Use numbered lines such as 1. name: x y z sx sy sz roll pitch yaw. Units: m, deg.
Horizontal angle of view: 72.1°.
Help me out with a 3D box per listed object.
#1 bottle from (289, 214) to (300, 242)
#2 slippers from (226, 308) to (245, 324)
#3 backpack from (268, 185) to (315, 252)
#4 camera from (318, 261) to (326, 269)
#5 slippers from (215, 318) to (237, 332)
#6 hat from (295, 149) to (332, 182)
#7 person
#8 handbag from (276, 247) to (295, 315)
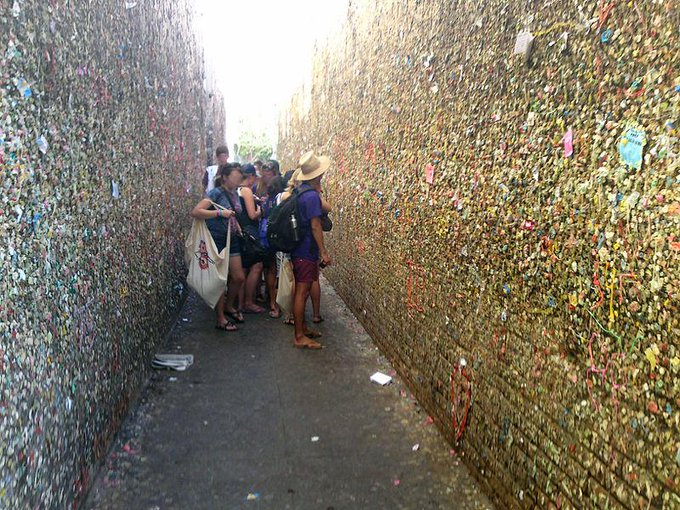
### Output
1. bottle: -0.418 -0.250 4.402 0.089 0.255 0.038 1 12 -5
2. slippers: -1.185 0.686 5.312 0.206 0.076 0.113 41 17 4
3. backpack: -0.516 -0.356 4.628 0.354 0.727 0.474 -2 6 -22
4. camera: -0.188 0.099 4.933 0.052 0.054 0.099 31 26 -14
5. slippers: -1.235 0.745 5.053 0.217 0.101 0.111 2 9 20
6. hat: -0.264 -0.848 4.514 0.300 0.280 0.391 1 14 -6
7. person: -0.728 -0.124 4.929 1.345 1.921 1.026 3 13 6
8. handbag: -0.525 0.360 4.898 0.218 0.726 0.176 10 34 16
